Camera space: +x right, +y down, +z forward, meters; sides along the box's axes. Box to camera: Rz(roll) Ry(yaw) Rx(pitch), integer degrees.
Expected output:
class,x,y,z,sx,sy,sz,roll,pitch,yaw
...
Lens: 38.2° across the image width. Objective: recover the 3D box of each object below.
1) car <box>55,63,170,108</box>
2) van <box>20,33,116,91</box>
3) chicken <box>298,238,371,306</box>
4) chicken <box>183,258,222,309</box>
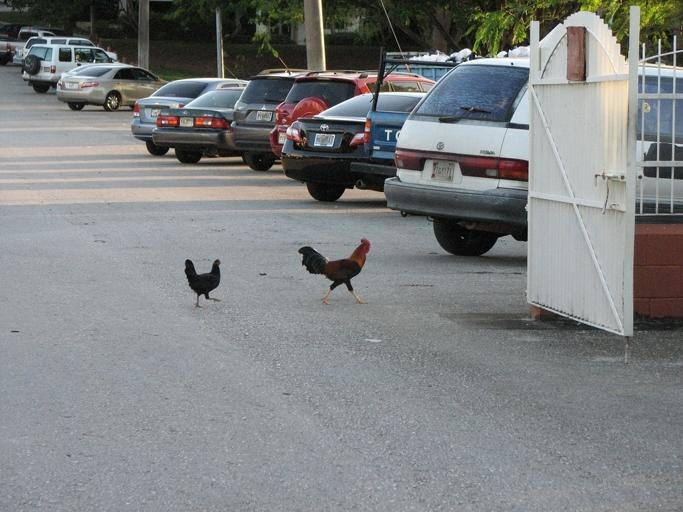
class,x,y,z,sx,sy,sz,roll,pitch,yaw
car,-8.507,-6.159,37.349,2.225,1.477,5.290,9,16,40
van,-11.421,-8.452,43.191,5.494,2.249,2.974,-16,22,-40
chicken,-0.085,0.099,9.082,0.643,0.580,0.885,-2,15,-7
chicken,-1.236,0.228,8.824,0.277,0.436,0.437,0,12,-3
